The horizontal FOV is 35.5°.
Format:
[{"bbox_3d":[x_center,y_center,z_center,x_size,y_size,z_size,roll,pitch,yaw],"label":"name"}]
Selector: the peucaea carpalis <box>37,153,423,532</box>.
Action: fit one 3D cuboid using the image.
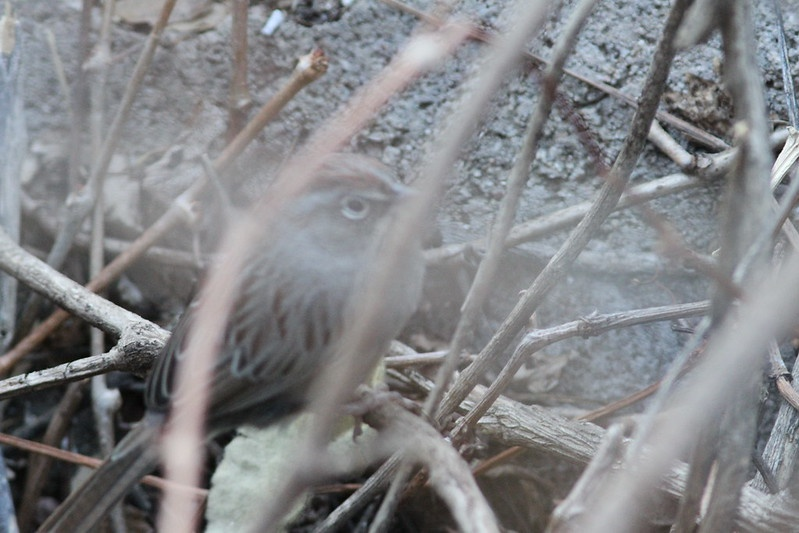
[{"bbox_3d":[-0.298,0.134,2.359,0.318,0.773,0.233,54,-2,-41],"label":"peucaea carpalis"}]
